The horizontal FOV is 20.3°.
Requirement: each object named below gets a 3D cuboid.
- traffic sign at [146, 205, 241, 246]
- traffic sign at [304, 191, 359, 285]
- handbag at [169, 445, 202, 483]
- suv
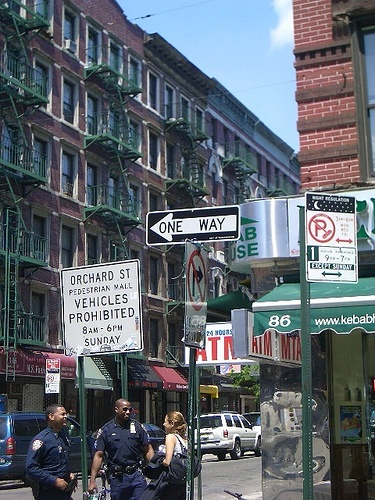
[{"bbox_3d":[0.018,-0.248,10.176,0.968,0.445,0.324,-9,-10,16],"label":"traffic sign"},{"bbox_3d":[1.275,-0.107,9.389,0.542,0.801,0.112,-2,-9,-15],"label":"traffic sign"},{"bbox_3d":[-0.007,2.149,10.424,0.279,0.341,0.647,-2,-11,-17],"label":"handbag"},{"bbox_3d":[1.246,5.855,33.186,1.138,1.252,2.590,-4,-5,24],"label":"suv"}]
